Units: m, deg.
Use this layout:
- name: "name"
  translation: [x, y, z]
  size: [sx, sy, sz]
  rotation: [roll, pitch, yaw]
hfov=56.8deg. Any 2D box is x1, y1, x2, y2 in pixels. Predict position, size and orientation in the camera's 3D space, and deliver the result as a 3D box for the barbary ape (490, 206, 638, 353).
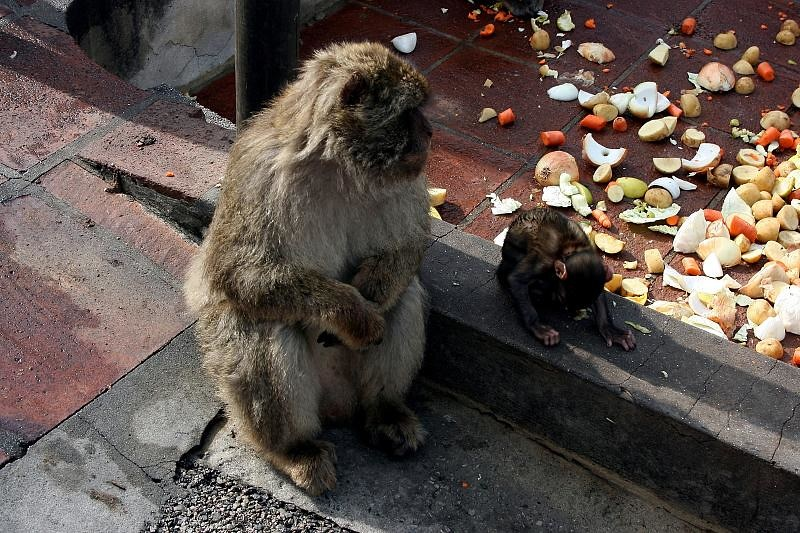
- name: "barbary ape"
  translation: [1.194, 0.030, 5.459]
  size: [0.837, 0.667, 1.322]
  rotation: [-2, 29, -24]
